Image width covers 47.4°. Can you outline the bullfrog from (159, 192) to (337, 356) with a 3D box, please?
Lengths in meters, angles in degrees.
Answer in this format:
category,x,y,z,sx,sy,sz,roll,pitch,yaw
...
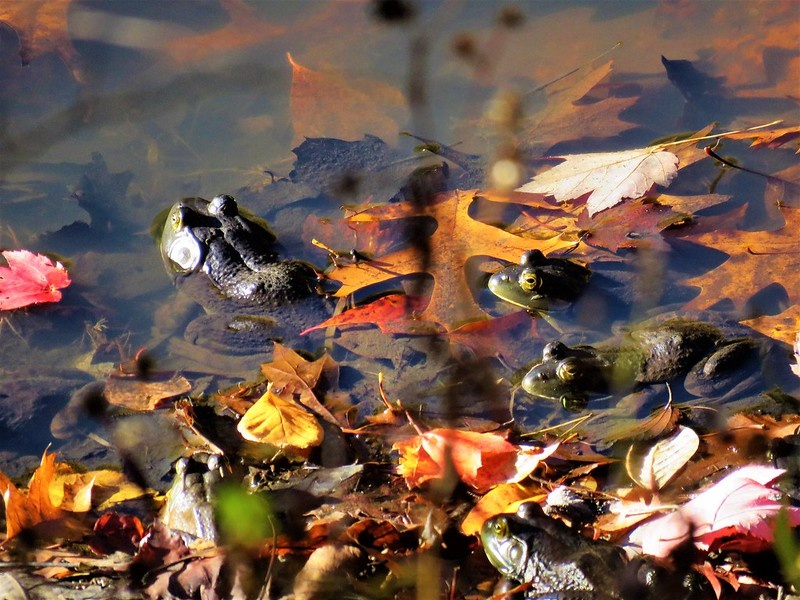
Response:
category,x,y,z,sx,sy,sz,roll,pitch,yaw
bullfrog,-1.190,-0.227,6.757,1.149,1.459,0.406,-9,-47,-9

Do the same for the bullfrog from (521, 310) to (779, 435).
category,x,y,z,sx,sy,sz,roll,pitch,yaw
bullfrog,1.759,0.532,6.216,1.185,0.730,0.327,-12,-55,5

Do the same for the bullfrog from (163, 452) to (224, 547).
category,x,y,z,sx,sy,sz,roll,pitch,yaw
bullfrog,-1.150,1.121,5.056,0.308,0.466,0.301,3,-48,-20
